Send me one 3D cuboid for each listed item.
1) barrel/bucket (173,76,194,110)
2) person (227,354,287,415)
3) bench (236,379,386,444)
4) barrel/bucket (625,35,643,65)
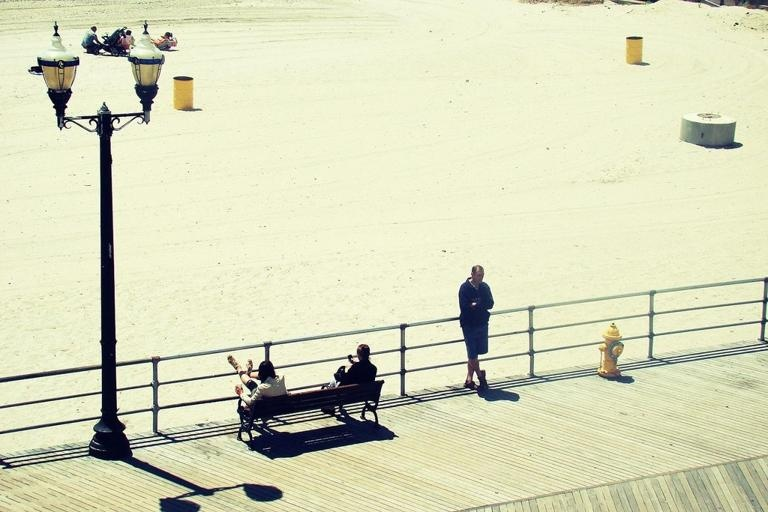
[{"bbox_3d":[-6.562,-5.391,53.430,0.648,1.248,0.826,-3,26,-8],"label":"barrel/bucket"},{"bbox_3d":[-2.872,2.725,35.782,1.015,1.392,1.985,-8,25,-19],"label":"person"},{"bbox_3d":[-1.804,2.964,35.613,4.141,1.232,1.323,-5,27,-21],"label":"bench"},{"bbox_3d":[9.210,-7.602,59.721,0.653,0.980,0.974,5,25,8],"label":"barrel/bucket"}]
